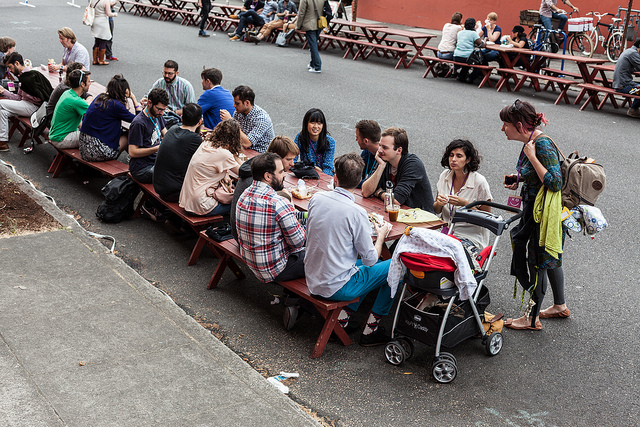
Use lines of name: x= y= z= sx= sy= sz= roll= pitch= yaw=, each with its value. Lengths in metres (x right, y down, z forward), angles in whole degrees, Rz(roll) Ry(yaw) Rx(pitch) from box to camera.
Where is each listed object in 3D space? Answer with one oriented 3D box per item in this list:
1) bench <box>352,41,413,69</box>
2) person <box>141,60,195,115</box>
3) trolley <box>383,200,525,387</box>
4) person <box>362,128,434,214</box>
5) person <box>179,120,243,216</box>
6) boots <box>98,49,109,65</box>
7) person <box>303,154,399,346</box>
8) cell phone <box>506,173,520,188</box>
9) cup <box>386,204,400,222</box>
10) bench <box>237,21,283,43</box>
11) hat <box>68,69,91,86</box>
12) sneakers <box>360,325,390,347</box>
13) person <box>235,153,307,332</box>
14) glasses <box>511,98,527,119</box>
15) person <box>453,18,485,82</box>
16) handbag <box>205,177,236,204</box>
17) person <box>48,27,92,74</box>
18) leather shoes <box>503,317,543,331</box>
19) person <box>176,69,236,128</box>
bench: x=2.251 y=-5.961 z=18.605 sx=1.936 sy=0.693 sz=3.051 roll=5 pitch=21 yaw=-10
person: x=-2.977 y=-2.461 z=9.868 sx=0.954 sy=1.055 sz=0.726 roll=10 pitch=24 yaw=0
trolley: x=1.416 y=0.800 z=5.459 sx=1.401 sy=1.544 sz=0.930 roll=-15 pitch=23 yaw=-28
person: x=1.062 y=-0.348 z=6.765 sx=1.044 sy=1.533 sz=0.840 roll=-4 pitch=14 yaw=-10
person: x=-1.554 y=-0.609 z=7.003 sx=0.644 sy=1.178 sz=0.865 roll=38 pitch=35 yaw=21
boots: x=-7.078 y=-5.097 z=16.213 sx=0.273 sy=0.486 sz=0.433 roll=-5 pitch=25 yaw=-32
person: x=0.343 y=0.409 z=5.516 sx=1.059 sy=2.039 sz=0.554 roll=8 pitch=21 yaw=-3
cell phone: x=2.359 y=-0.407 z=6.163 sx=0.163 sy=0.162 sz=0.166 roll=11 pitch=12 yaw=12
cup: x=0.909 y=-0.003 z=6.193 sx=0.210 sy=0.168 sz=0.193 roll=-1 pitch=4 yaw=0
bench: x=-2.376 y=-7.738 z=20.993 sx=1.187 sy=1.021 sz=1.532 roll=-8 pitch=27 yaw=-38
hat: x=-4.318 y=-2.403 z=8.876 sx=0.272 sy=0.340 sz=0.304 roll=14 pitch=8 yaw=29
sneakers: x=0.620 y=1.403 z=5.676 sx=0.438 sy=0.186 sz=0.144 roll=-4 pitch=11 yaw=-21
person: x=-0.527 y=0.088 z=5.686 sx=0.898 sy=1.420 sz=0.443 roll=10 pitch=21 yaw=4
glasses: x=2.204 y=-1.157 z=5.541 sx=0.051 sy=0.168 sz=0.166 roll=-21 pitch=55 yaw=23
person: x=4.697 y=-5.205 z=15.942 sx=0.774 sy=1.917 sz=0.876 roll=-6 pitch=25 yaw=-33
handbag: x=-1.394 y=-0.320 z=7.180 sx=0.412 sy=0.167 sz=0.341 roll=-28 pitch=77 yaw=-42
person: x=-6.377 y=-3.990 z=12.601 sx=0.897 sy=1.318 sz=0.977 roll=26 pitch=29 yaw=38
leather shoes: x=2.406 y=1.318 z=5.917 sx=0.415 sy=0.174 sz=0.184 roll=5 pitch=9 yaw=14
person: x=-2.114 y=-2.048 z=9.451 sx=0.824 sy=1.374 sz=0.662 roll=5 pitch=36 yaw=-3
